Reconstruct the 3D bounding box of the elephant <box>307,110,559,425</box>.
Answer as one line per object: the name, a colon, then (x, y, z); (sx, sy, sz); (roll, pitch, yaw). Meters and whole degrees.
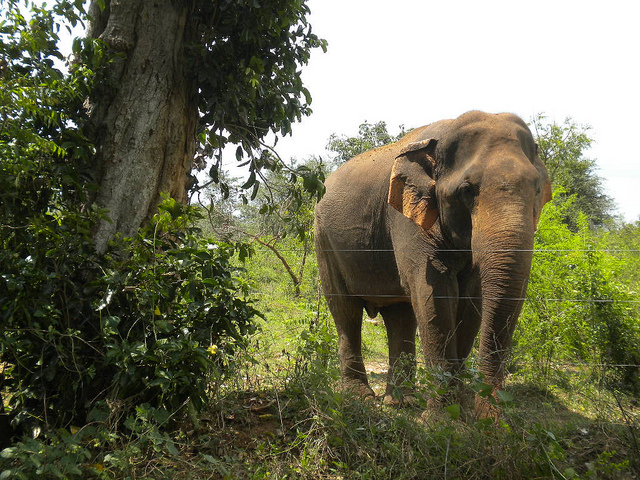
elephant: (1.028, 0.366, 5.343); (1.303, 2.620, 3.090); (9, -14, -15)
